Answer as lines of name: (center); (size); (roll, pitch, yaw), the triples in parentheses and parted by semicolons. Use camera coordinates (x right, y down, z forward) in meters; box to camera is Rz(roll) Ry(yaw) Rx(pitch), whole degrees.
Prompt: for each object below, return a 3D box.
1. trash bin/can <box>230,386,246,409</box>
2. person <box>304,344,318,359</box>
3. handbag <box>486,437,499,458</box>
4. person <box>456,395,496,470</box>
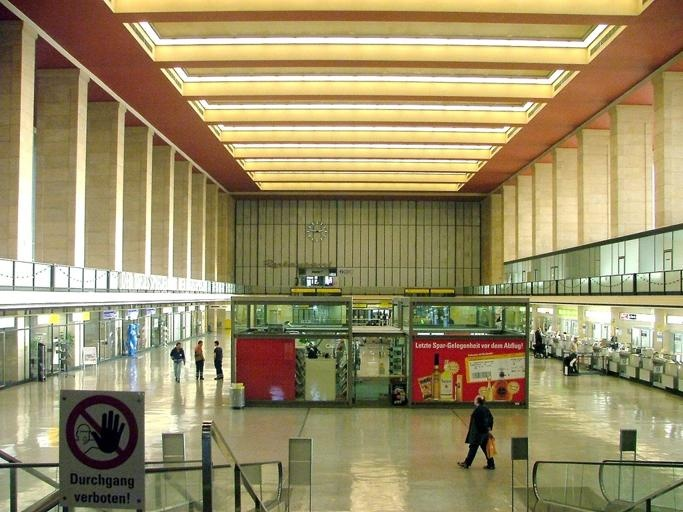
trash bin/can: (-3.608, 4.879, 22.034); (0.546, 0.827, 0.378); (2, -6, -19)
person: (-1.040, 3.372, 22.443); (0.471, 0.809, 0.468); (2, -3, -4)
handbag: (3.965, 5.035, 16.567); (0.287, 0.703, 0.749); (2, -4, 14)
person: (3.639, 4.610, 16.758); (0.839, 1.858, 1.104); (-2, -6, 13)
